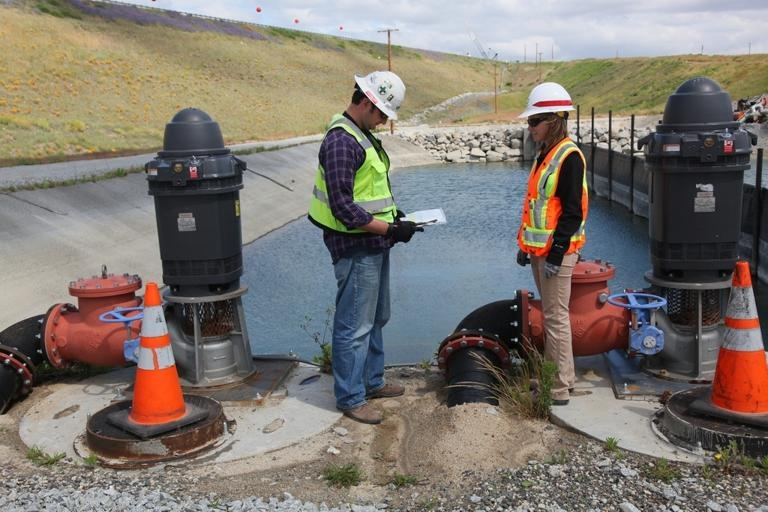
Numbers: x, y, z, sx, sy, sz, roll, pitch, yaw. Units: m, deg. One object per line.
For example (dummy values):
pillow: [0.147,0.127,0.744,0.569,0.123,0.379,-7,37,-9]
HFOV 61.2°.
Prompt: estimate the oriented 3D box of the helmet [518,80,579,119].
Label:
helmet: [1.467,-1.434,5.937,0.456,0.316,0.469,1,14,11]

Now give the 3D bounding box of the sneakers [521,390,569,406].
sneakers: [1.461,1.303,5.965,0.319,0.070,0.180,5,1,-17]

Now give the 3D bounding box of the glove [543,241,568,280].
glove: [1.530,0.023,5.935,0.237,0.218,0.311,8,2,24]

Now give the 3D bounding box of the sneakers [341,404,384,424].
sneakers: [-0.203,1.459,6.072,0.360,0.130,0.147,1,1,19]

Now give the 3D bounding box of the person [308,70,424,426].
person: [-0.192,-0.095,6.043,0.787,3.158,0.848,12,20,43]

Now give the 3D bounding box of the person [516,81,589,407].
person: [1.592,-0.137,5.987,0.558,2.875,0.968,-3,14,-3]

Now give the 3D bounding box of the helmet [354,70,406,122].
helmet: [-0.036,-1.493,5.987,0.430,0.431,0.322,-2,14,0]

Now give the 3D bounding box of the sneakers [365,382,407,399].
sneakers: [0.014,1.320,6.547,0.410,0.155,0.144,-4,5,-5]

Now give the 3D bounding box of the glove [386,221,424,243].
glove: [0.183,-0.228,5.940,0.282,0.103,0.197,-5,29,-9]
